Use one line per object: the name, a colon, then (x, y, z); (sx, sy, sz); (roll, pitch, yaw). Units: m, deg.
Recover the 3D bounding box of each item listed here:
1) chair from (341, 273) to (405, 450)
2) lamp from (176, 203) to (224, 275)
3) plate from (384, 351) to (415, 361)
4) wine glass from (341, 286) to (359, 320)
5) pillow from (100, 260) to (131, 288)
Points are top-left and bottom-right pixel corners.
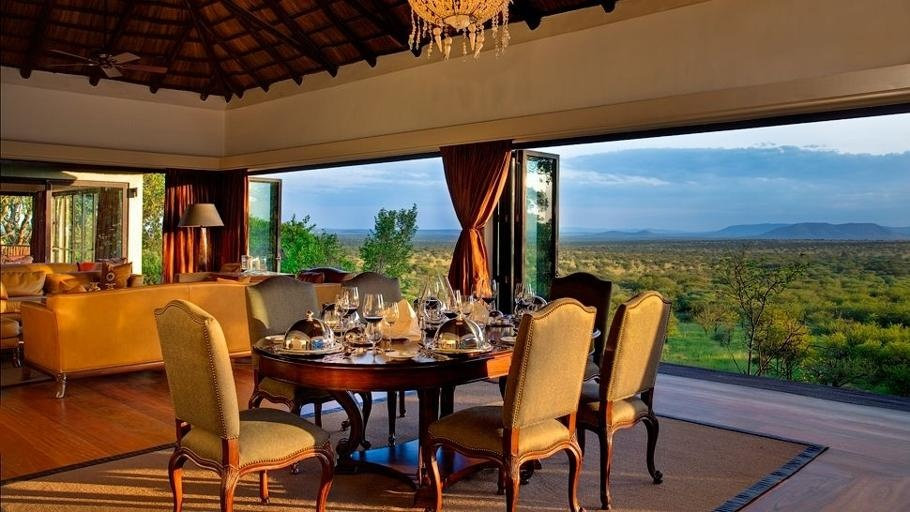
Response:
chair: (-0.857, 1.082, 5.811); (0.918, 1.711, 1.075); (-1, 10, 3)
lamp: (-4.962, -0.351, 10.800); (0.739, 1.345, 1.458); (1, 3, -23)
plate: (-0.441, 0.812, 4.435); (0.253, 0.041, 0.178); (2, 3, 2)
wine glass: (-0.913, 0.401, 4.791); (0.135, 0.278, 0.168); (1, 3, -12)
pillow: (-5.535, 0.311, 8.975); (0.425, 0.407, 0.162); (-3, -20, -13)
